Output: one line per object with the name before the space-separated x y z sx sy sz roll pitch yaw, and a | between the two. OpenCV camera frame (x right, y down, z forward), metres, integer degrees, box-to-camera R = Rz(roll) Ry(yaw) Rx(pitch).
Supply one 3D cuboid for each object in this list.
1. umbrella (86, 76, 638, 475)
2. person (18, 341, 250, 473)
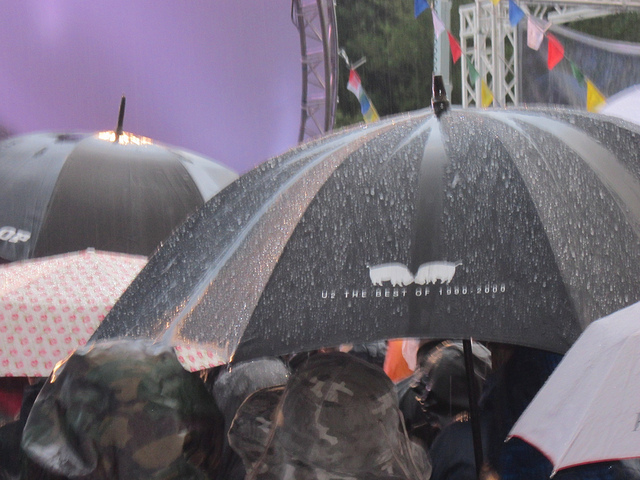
umbrella | 0.343 0.035 2.464 1.236 1.144 1.484 -12 20 22
person | -0.905 0.813 3.043 0.731 0.424 0.832 -1 -9 27
